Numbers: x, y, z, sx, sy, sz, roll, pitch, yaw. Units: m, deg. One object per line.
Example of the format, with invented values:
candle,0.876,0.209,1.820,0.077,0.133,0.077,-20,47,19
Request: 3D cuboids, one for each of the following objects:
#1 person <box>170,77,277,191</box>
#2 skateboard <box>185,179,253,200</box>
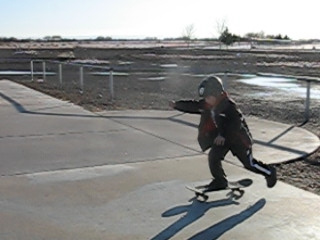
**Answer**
person,0.963,0.211,4.126,1.564,1.678,0.584,3,14,6
skateboard,0.999,1.045,4.269,1.181,0.195,0.376,-3,7,-11
